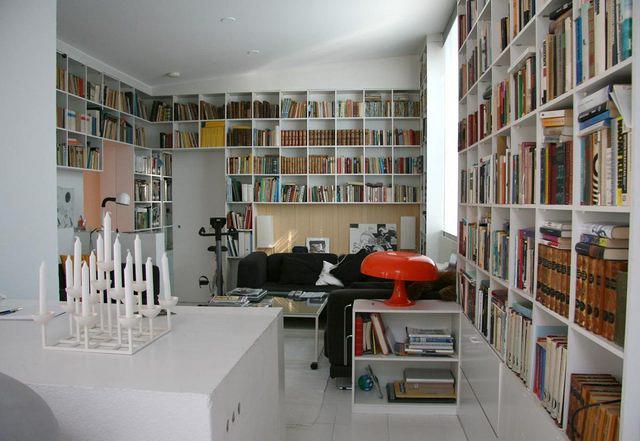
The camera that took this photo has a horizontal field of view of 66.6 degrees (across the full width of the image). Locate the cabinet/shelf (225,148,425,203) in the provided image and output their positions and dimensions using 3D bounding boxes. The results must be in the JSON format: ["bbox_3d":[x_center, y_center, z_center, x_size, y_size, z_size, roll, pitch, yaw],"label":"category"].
[{"bbox_3d":[0.038,-0.601,7.077,2.788,0.698,0.375,1,6,10],"label":"cabinet/shelf"}]

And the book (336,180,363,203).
[{"bbox_3d":[0.421,-0.399,6.849,0.377,0.279,0.116,3,13,-2],"label":"book"}]

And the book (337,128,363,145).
[{"bbox_3d":[0.415,-1.163,6.821,0.370,0.224,0.065,4,13,1],"label":"book"}]

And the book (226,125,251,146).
[{"bbox_3d":[-1.161,-1.180,7.057,0.342,0.352,0.267,2,4,18],"label":"book"}]

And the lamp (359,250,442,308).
[{"bbox_3d":[0.633,0.453,3.881,0.607,0.454,0.639,0,6,-3],"label":"lamp"}]

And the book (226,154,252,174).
[{"bbox_3d":[-1.172,-0.794,7.037,0.342,0.357,0.253,0,-5,0],"label":"book"}]

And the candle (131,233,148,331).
[{"bbox_3d":[-0.842,0.283,2.271,0.099,0.432,0.092,-1,15,-18],"label":"candle"}]

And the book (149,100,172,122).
[{"bbox_3d":[-2.360,-1.604,7.241,0.299,0.333,0.107,3,7,-21],"label":"book"}]

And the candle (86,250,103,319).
[{"bbox_3d":[-1.043,0.316,2.293,0.077,0.319,0.077,-12,15,-40],"label":"candle"}]

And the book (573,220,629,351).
[{"bbox_3d":[1.221,0.245,2.101,0.091,0.481,0.276,0,14,-14],"label":"book"}]

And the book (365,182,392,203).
[{"bbox_3d":[0.817,-0.347,6.942,0.393,0.407,0.244,1,-7,-2],"label":"book"}]

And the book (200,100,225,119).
[{"bbox_3d":[-1.594,-1.615,7.138,0.294,0.326,0.073,0,2,-7],"label":"book"}]

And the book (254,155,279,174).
[{"bbox_3d":[-0.779,-0.787,7.011,0.307,0.260,0.333,1,-4,-44],"label":"book"}]

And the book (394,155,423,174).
[{"bbox_3d":[1.238,-0.795,6.784,0.319,0.257,0.312,6,12,34],"label":"book"}]

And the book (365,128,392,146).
[{"bbox_3d":[0.810,-1.153,6.800,0.394,0.210,0.101,4,13,2],"label":"book"}]

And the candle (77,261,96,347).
[{"bbox_3d":[-1.082,0.355,2.235,0.080,0.417,0.285,-3,15,-27],"label":"candle"}]

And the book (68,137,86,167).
[{"bbox_3d":[-2.876,-0.798,5.722,0.114,0.353,0.364,1,-2,1],"label":"book"}]

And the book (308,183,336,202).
[{"bbox_3d":[0.033,-0.479,6.872,0.376,0.304,0.212,0,-17,5],"label":"book"}]

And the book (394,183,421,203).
[{"bbox_3d":[1.222,-0.352,6.840,0.326,0.339,0.236,2,-8,-8],"label":"book"}]

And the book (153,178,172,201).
[{"bbox_3d":[-2.442,-0.476,7.471,0.178,0.346,0.349,-1,-1,18],"label":"book"}]

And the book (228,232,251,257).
[{"bbox_3d":[-1.166,0.344,7.047,0.352,0.357,0.160,1,13,-11],"label":"book"}]

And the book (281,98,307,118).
[{"bbox_3d":[-0.383,-1.580,6.897,0.279,0.137,0.384,2,4,3],"label":"book"}]

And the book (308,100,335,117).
[{"bbox_3d":[0.019,-1.552,6.850,0.385,0.221,0.114,3,13,-2],"label":"book"}]

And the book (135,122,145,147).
[{"bbox_3d":[-2.614,-1.212,7.024,0.105,0.291,0.286,2,14,-7],"label":"book"}]

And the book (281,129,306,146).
[{"bbox_3d":[-0.369,-1.169,6.907,0.372,0.227,0.125,2,13,-6],"label":"book"}]

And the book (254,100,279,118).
[{"bbox_3d":[-0.773,-1.571,6.954,0.230,0.320,0.322,2,4,22],"label":"book"}]

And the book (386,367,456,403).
[{"bbox_3d":[0.805,1.305,3.883,0.518,0.211,0.250,4,14,0],"label":"book"}]

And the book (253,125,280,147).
[{"bbox_3d":[-0.758,-1.188,6.999,0.350,0.373,0.304,3,8,10],"label":"book"}]

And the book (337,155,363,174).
[{"bbox_3d":[0.399,-0.773,6.818,0.221,0.316,0.308,1,-2,17],"label":"book"}]

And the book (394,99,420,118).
[{"bbox_3d":[1.225,-1.530,6.894,0.378,0.388,0.217,1,-4,3],"label":"book"}]

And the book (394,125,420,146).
[{"bbox_3d":[1.224,-1.150,6.784,0.300,0.303,0.236,2,-30,-1],"label":"book"}]

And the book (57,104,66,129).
[{"bbox_3d":[-2.909,-1.148,5.451,0.106,0.222,0.102,-8,17,-40],"label":"book"}]

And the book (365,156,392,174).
[{"bbox_3d":[0.813,-0.760,6.815,0.396,0.220,0.095,4,13,1],"label":"book"}]

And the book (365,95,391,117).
[{"bbox_3d":[0.816,-1.580,6.800,0.370,0.280,0.138,4,13,2],"label":"book"}]

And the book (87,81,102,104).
[{"bbox_3d":[-2.789,-1.574,6.002,0.067,0.247,0.241,5,14,7],"label":"book"}]

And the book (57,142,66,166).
[{"bbox_3d":[-2.924,-0.749,5.502,0.056,0.245,0.187,2,14,-6],"label":"book"}]

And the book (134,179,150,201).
[{"bbox_3d":[-2.570,-0.429,6.981,0.163,0.322,0.321,-1,0,4],"label":"book"}]

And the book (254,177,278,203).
[{"bbox_3d":[-0.759,-0.389,7.099,0.404,0.424,0.304,0,-3,20],"label":"book"}]

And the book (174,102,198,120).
[{"bbox_3d":[-1.979,-1.578,7.226,0.330,0.340,0.253,-1,-2,1],"label":"book"}]

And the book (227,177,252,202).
[{"bbox_3d":[-1.159,-0.428,7.032,0.324,0.343,0.339,0,-2,1],"label":"book"}]

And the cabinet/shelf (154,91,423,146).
[{"bbox_3d":[-0.451,-1.383,7.048,3.890,0.855,0.437,3,-6,16],"label":"cabinet/shelf"}]

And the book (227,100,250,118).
[{"bbox_3d":[-1.173,-1.586,7.014,0.225,0.344,0.339,2,-1,-2],"label":"book"}]

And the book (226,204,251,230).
[{"bbox_3d":[-1.158,-0.038,7.031,0.291,0.142,0.392,0,-12,-7],"label":"book"}]

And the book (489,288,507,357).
[{"bbox_3d":[1.097,0.631,2.985,0.136,0.391,0.392,1,-3,16],"label":"book"}]

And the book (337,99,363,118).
[{"bbox_3d":[0.415,-1.548,6.797,0.366,0.225,0.115,4,13,2],"label":"book"}]

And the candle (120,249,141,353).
[{"bbox_3d":[-0.881,0.362,2.243,0.098,0.444,0.303,-2,14,-21],"label":"candle"}]

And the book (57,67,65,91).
[{"bbox_3d":[-2.903,-1.573,5.435,0.036,0.227,0.149,6,14,10],"label":"book"}]
